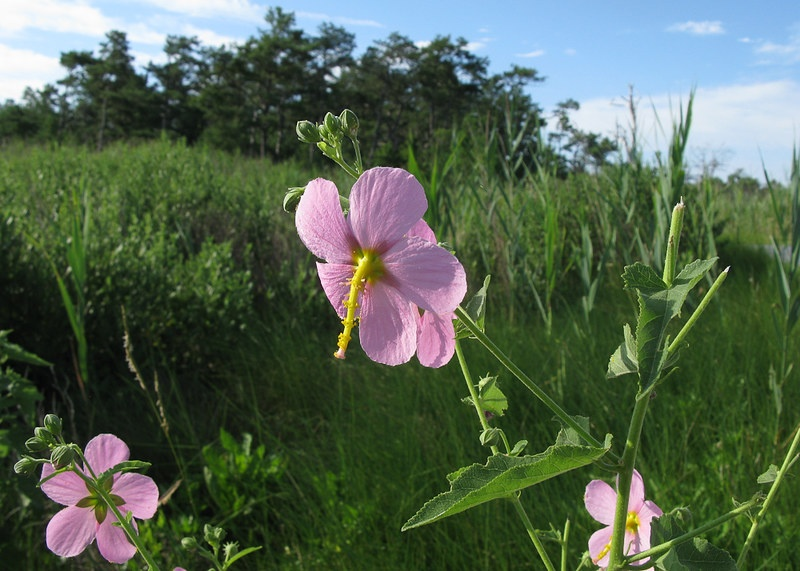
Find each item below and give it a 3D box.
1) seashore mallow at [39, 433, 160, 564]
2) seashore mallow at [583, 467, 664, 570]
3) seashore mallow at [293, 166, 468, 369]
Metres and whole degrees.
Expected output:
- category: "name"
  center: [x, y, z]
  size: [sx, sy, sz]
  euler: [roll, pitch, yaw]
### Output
- category: "seashore mallow"
  center: [-0.942, 0.669, 2.225]
  size: [0.318, 0.402, 0.215]
  euler: [4, 9, 23]
- category: "seashore mallow"
  center: [0.708, 0.731, 2.223]
  size: [0.222, 0.316, 0.186]
  euler: [-1, 9, -6]
- category: "seashore mallow"
  center: [-0.059, -0.038, 1.996]
  size: [0.449, 0.574, 0.246]
  euler: [-1, 8, -8]
